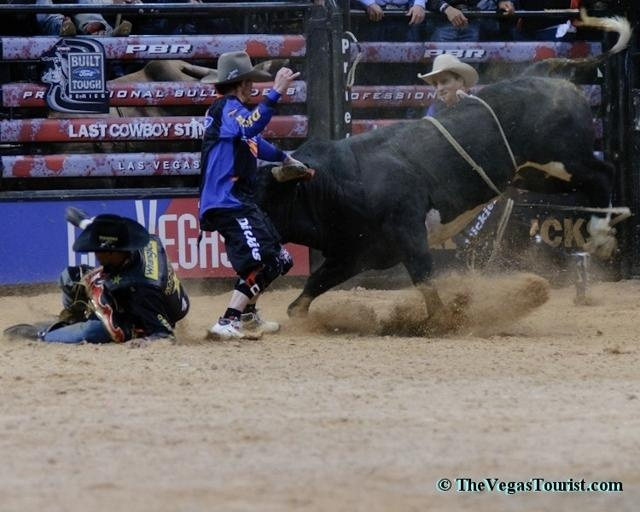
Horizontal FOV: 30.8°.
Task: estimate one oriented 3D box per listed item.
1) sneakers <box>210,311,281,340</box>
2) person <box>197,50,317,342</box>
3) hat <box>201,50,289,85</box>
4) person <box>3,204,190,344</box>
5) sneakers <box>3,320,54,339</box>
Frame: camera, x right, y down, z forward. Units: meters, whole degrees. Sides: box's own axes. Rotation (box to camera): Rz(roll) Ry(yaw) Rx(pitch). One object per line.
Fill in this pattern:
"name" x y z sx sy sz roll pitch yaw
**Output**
"sneakers" -0.562 0.531 8.511 0.535 0.195 0.178 -4 17 -31
"person" -0.530 -0.419 8.386 0.755 2.055 0.568 -6 9 -5
"hat" -0.619 -1.357 8.406 0.558 0.186 0.407 -12 18 -21
"person" -1.584 0.167 8.376 1.070 0.720 1.210 -1 24 -35
"sneakers" -2.125 0.547 8.426 0.260 0.075 0.158 -2 2 -37
